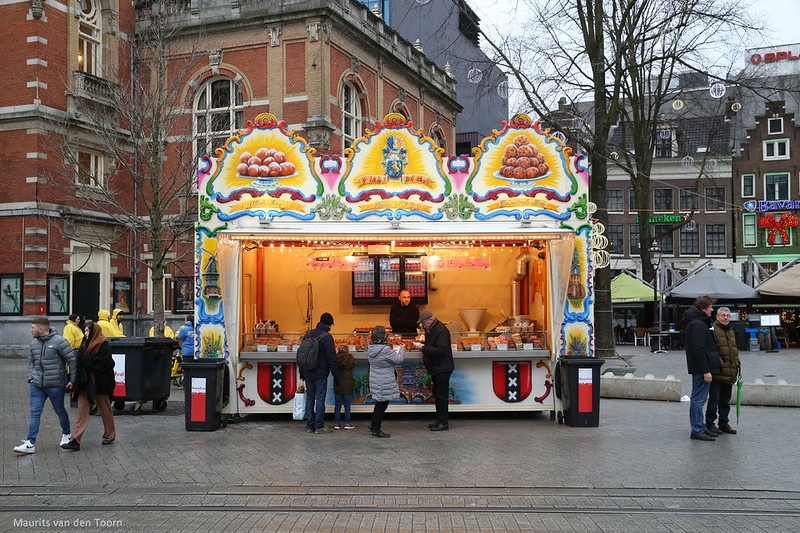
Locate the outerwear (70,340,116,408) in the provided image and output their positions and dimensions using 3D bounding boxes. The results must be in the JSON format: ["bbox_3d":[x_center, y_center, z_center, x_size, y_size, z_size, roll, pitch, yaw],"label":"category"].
[{"bbox_3d":[-6.986,2.341,20.585,1.010,1.488,0.907,-1,-3,24],"label":"outerwear"}]

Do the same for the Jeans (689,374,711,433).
[{"bbox_3d":[6.934,3.121,20.775,0.463,1.331,0.661,-3,-3,17],"label":"Jeans"}]

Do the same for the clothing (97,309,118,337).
[{"bbox_3d":[-8.165,1.574,25.030,0.544,0.668,0.254,-13,17,43],"label":"clothing"}]

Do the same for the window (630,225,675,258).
[{"bbox_3d":[13.077,-1.284,46.598,2.067,1.579,0.152,0,-6,-1],"label":"window"}]

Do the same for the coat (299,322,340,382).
[{"bbox_3d":[-1.950,2.291,21.712,0.757,1.162,0.710,6,-40,15],"label":"coat"}]

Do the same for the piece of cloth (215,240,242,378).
[{"bbox_3d":[-4.217,0.500,22.337,0.451,2.370,0.188,5,5,24],"label":"piece of cloth"}]

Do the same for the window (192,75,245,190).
[{"bbox_3d":[-7.370,-6.171,36.399,2.186,0.206,4.005,-11,-24,-20],"label":"window"}]

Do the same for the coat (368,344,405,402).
[{"bbox_3d":[-0.370,2.461,21.410,1.188,1.352,1.214,0,-2,4],"label":"coat"}]

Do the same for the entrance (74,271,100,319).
[{"bbox_3d":[-12.369,1.110,35.264,0.134,2.001,1.678,-3,-7,20],"label":"entrance"}]

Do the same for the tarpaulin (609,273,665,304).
[{"bbox_3d":[10.322,1.018,40.256,1.745,0.887,1.784,-1,-6,8],"label":"tarpaulin"}]

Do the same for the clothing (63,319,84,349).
[{"bbox_3d":[-8.691,1.792,23.861,0.403,0.657,0.686,-8,9,-33],"label":"clothing"}]
